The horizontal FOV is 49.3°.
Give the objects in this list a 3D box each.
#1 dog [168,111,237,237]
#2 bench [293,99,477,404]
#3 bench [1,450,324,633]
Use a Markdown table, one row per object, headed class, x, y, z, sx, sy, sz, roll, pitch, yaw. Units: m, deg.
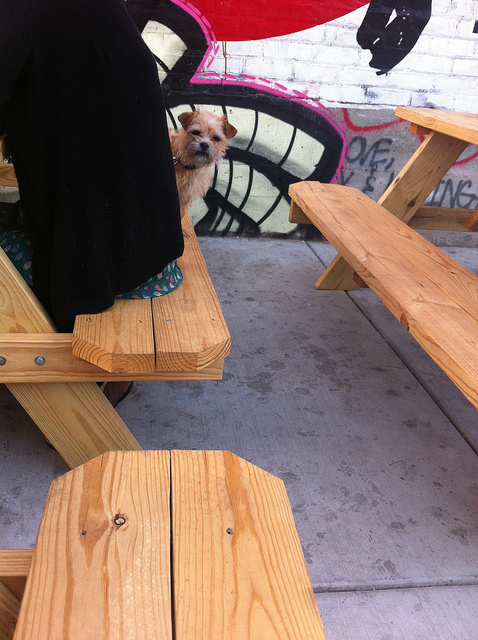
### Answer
| class | x | y | z | sx | sy | sz | roll | pitch | yaw |
| --- | --- | --- | --- | --- | --- | --- | --- | --- | --- |
| dog | -0.223 | -0.645 | 2.272 | 0.253 | 0.450 | 0.674 | 11 | 11 | -17 |
| bench | 0.639 | -0.365 | 2.420 | 0.630 | 0.839 | 1.646 | 1 | 39 | 1 |
| bench | -0.108 | 0.322 | 0.720 | 0.341 | 0.080 | 0.361 | 5 | 27 | -10 |
